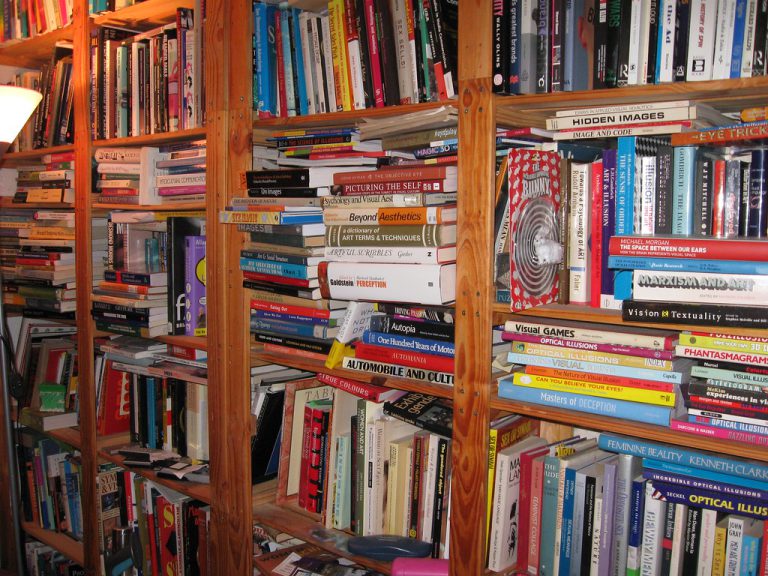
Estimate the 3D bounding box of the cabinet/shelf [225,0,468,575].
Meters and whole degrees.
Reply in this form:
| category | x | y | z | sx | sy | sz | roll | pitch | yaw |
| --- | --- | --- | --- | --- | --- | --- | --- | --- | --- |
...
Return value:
| category | x | y | z | sx | sy | sz | roll | pitch | yaw |
| --- | --- | --- | --- | --- | --- | --- | --- | --- | --- |
| cabinet/shelf | 0.055 | -0.028 | 1.982 | 0.802 | 1.434 | 0.425 | 16 | 28 | 36 |

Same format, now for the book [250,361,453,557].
| category | x | y | z | sx | sy | sz | roll | pitch | yaw |
| --- | --- | --- | --- | --- | --- | --- | --- | --- | --- |
| book | -0.037 | 0.392 | 2.403 | 0.674 | 0.688 | 0.505 | 6 | 1 | 20 |
